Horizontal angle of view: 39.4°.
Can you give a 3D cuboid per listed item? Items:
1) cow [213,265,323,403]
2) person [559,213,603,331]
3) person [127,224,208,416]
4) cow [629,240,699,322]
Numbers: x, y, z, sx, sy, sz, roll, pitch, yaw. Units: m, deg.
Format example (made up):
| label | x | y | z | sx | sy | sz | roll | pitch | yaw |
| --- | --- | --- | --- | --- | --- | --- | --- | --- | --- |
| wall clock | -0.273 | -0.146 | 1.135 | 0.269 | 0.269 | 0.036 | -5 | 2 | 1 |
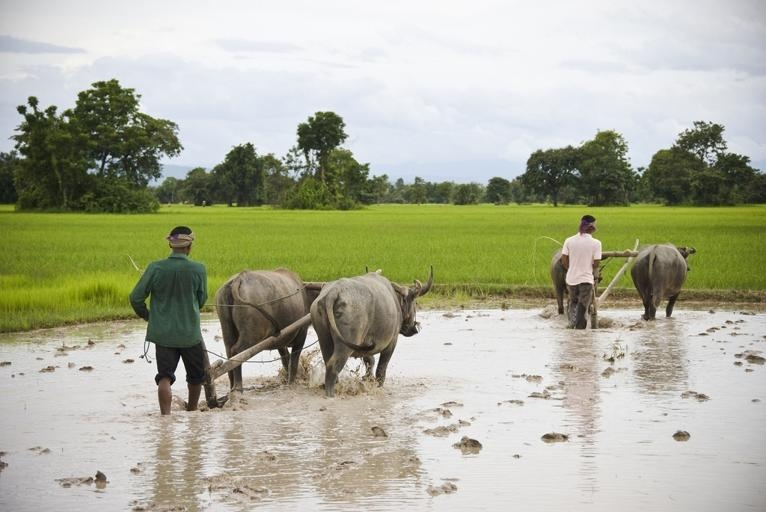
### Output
| label | x | y | z | sx | sy | sz | roll | pitch | yaw |
| --- | --- | --- | --- | --- | --- | --- | --- | --- | --- |
| cow | -2.270 | 1.489 | 22.292 | 2.082 | 2.370 | 4.526 | 3 | 4 | 19 |
| person | 4.696 | 0.392 | 25.150 | 0.868 | 2.750 | 0.537 | 5 | 16 | 17 |
| person | -3.880 | 1.233 | 19.766 | 1.289 | 3.441 | 0.992 | -3 | 15 | -10 |
| cow | 7.050 | 0.667 | 27.070 | 1.049 | 1.866 | 1.978 | 12 | 19 | 37 |
